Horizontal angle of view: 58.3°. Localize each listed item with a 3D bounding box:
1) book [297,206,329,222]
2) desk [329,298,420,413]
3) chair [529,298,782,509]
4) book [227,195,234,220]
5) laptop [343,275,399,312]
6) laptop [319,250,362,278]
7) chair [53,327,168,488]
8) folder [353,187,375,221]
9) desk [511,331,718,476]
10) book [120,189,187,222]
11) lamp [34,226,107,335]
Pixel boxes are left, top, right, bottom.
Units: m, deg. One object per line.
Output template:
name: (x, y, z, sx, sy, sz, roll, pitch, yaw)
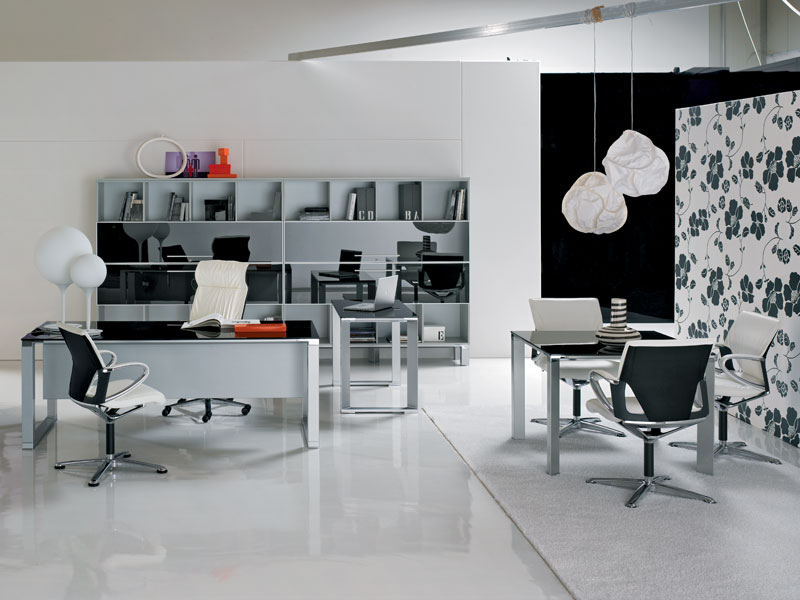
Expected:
book: (-1.113, -1.117, 9.297, 0.387, 0.200, 0.164, 0, 4, -6)
desk: (-0.303, 0.549, 7.737, 0.850, 1.033, 1.659, 0, 4, -5)
chair: (1.643, 0.770, 5.366, 1.234, 1.604, 1.210, -1, 4, -14)
book: (-2.189, -1.186, 9.244, 0.073, 0.305, 0.091, 0, 4, 6)
laptop: (-0.295, -0.133, 7.491, 0.400, 0.326, 0.512, 2, 2, 17)
laptop: (-0.713, -0.445, 9.345, 0.410, 0.396, 0.305, 2, 1, 10)
chair: (-2.233, 0.787, 5.520, 0.727, 1.006, 0.711, 4, -3, -35)
folder: (-0.450, -1.241, 9.297, 0.395, 0.514, 0.373, 0, 4, -1)
desk: (1.427, 0.756, 5.958, 1.168, 0.734, 1.261, 0, 1, 0)
book: (-3.140, -1.189, 9.144, 0.828, 0.378, 0.235, -1, 4, -13)
lamp: (-2.988, -0.203, 6.472, 0.538, 0.913, 2.828, -2, 4, -26)
